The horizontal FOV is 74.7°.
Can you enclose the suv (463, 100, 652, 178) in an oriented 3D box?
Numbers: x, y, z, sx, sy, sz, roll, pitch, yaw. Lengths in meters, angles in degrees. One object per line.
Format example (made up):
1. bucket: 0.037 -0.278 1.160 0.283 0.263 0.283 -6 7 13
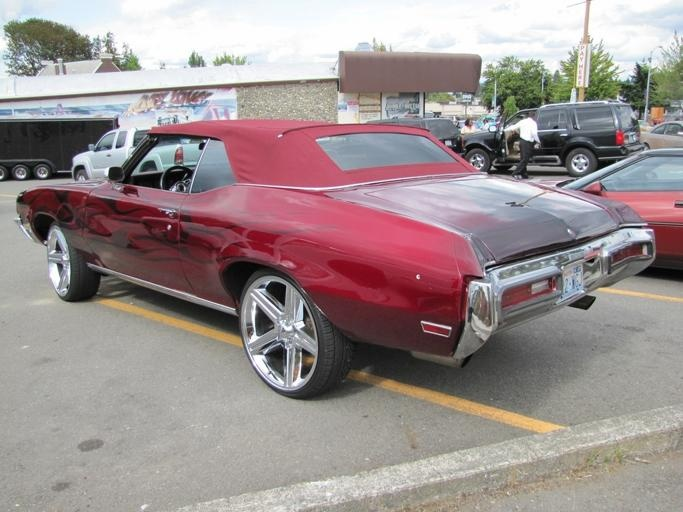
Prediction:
1. suv: 7.597 -4.048 16.572 6.119 2.259 3.385 11 22 33
